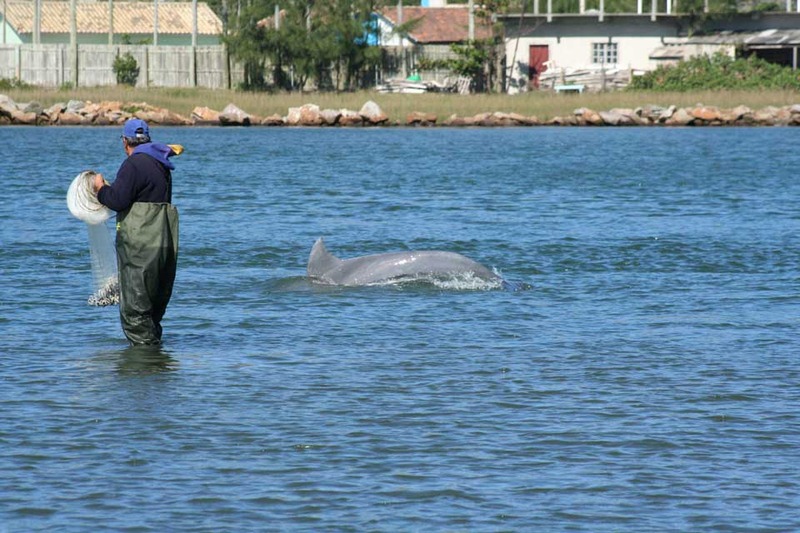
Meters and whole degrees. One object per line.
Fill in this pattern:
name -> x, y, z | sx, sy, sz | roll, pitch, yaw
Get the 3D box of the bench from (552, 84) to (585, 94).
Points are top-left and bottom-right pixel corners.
bench -> 7.755, -8.016, 89.761 | 1.387, 0.339, 1.522 | 0, 6, 3
